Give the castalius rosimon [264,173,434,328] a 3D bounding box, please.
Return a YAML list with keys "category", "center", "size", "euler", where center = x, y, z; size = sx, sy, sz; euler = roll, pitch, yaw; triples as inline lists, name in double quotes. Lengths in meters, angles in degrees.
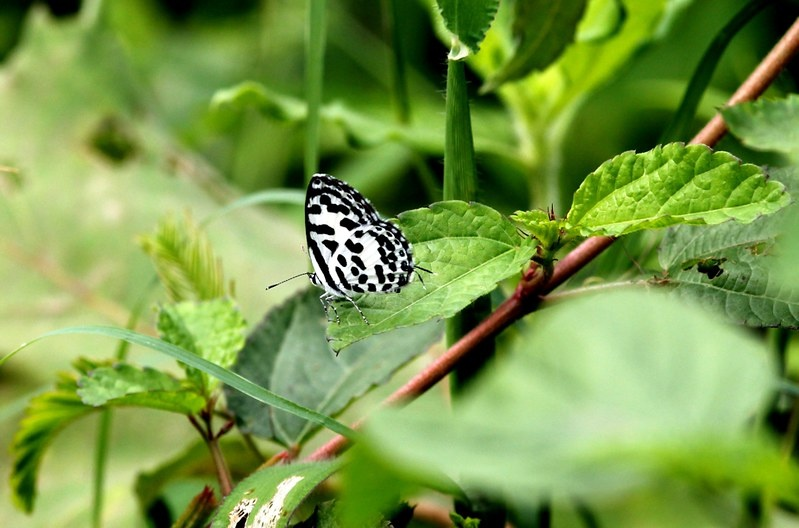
- category: "castalius rosimon"
  center: [-0.071, -0.031, 1.225]
  size: [0.274, 0.270, 0.211]
  euler: [-2, 92, 9]
